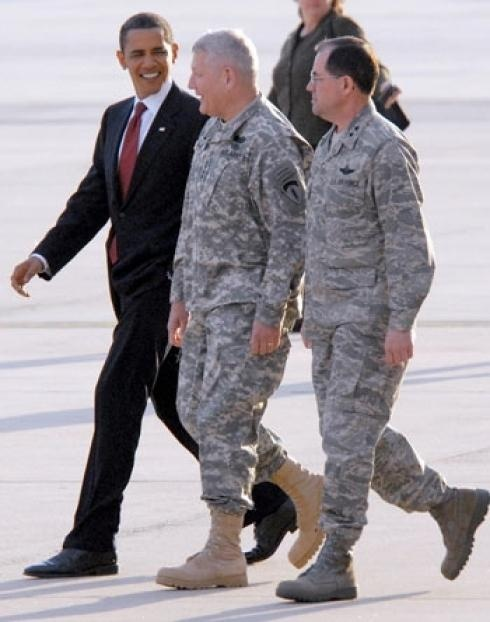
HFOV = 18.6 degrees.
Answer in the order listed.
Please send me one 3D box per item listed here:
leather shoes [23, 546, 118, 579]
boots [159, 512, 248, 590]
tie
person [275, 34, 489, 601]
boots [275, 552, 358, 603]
[{"bbox_3d":[-0.601,0.877,5.211,0.322,0.112,0.112,3,-8,-14],"label":"leather shoes"},{"bbox_3d":[-0.101,0.824,5.010,0.406,0.333,0.159,2,-6,-9],"label":"boots"},{"bbox_3d":[-0.424,-0.506,5.713,0.057,0.684,0.107,22,-29,-31],"label":"tie"},{"bbox_3d":[0.367,0.011,4.967,0.443,1.836,0.531,6,6,-6],"label":"person"},{"bbox_3d":[0.193,0.882,4.832,0.311,0.199,0.112,2,-11,-10],"label":"boots"}]
